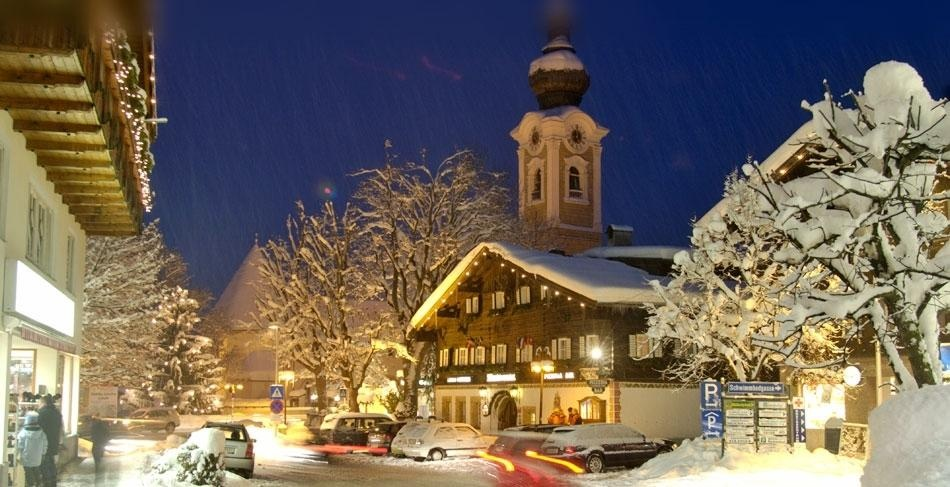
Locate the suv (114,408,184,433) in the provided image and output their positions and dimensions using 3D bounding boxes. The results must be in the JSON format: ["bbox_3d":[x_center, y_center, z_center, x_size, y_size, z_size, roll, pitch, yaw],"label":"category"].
[{"bbox_3d":[-24.813,13.465,69.568,4.017,1.431,1.821,9,-13,-29],"label":"suv"}]

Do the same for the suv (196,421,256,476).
[{"bbox_3d":[-10.584,8.980,39.658,1.771,1.689,3.827,2,-5,-9],"label":"suv"}]

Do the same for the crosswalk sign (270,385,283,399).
[{"bbox_3d":[-11.953,8.988,55.191,0.684,0.866,0.774,5,-17,-20],"label":"crosswalk sign"}]

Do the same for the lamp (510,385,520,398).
[{"bbox_3d":[2.811,10.245,63.259,0.816,1.094,0.812,1,-6,-8],"label":"lamp"}]

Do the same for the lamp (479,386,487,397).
[{"bbox_3d":[0.638,10.685,65.559,0.627,0.466,0.622,-2,-9,3],"label":"lamp"}]
